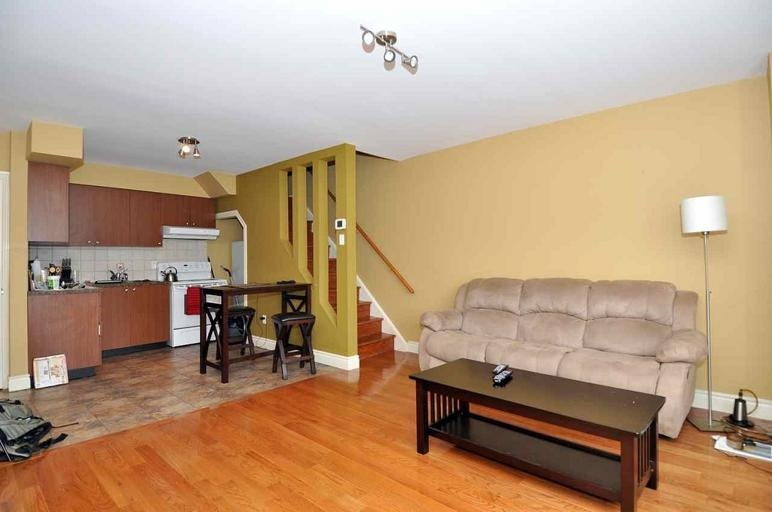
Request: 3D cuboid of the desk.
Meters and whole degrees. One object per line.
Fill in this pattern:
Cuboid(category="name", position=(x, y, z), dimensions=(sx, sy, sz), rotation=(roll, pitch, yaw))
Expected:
Cuboid(category="desk", position=(-1.664, 1.019, 7.068), dimensions=(0.490, 0.958, 1.208), rotation=(5, 4, 43))

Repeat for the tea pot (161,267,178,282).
Cuboid(category="tea pot", position=(-3.300, 0.291, 8.308), dimensions=(0.175, 0.239, 0.287), rotation=(2, 3, 16))

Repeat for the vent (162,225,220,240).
Cuboid(category="vent", position=(-3.111, -0.364, 8.599), dimensions=(0.894, 0.206, 0.425), rotation=(-1, 2, -42))

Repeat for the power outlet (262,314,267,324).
Cuboid(category="power outlet", position=(-1.776, 0.929, 7.980), dimensions=(0.023, 0.154, 0.145), rotation=(-2, 4, -41))

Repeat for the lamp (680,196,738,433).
Cuboid(category="lamp", position=(3.169, 0.541, 5.441), dimensions=(0.409, 2.323, 0.585), rotation=(1, 3, 29))

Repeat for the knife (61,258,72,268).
Cuboid(category="knife", position=(-4.394, 0.095, 7.506), dimensions=(0.145, 0.093, 0.262), rotation=(-2, 12, -41))

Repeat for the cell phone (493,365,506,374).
Cuboid(category="cell phone", position=(1.050, 1.056, 5.032), dimensions=(0.097, 0.033, 0.068), rotation=(-23, -7, -20))

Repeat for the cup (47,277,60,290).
Cuboid(category="cup", position=(-4.095, 0.342, 6.713), dimensions=(0.129, 0.210, 0.120), rotation=(-4, -11, -1))
